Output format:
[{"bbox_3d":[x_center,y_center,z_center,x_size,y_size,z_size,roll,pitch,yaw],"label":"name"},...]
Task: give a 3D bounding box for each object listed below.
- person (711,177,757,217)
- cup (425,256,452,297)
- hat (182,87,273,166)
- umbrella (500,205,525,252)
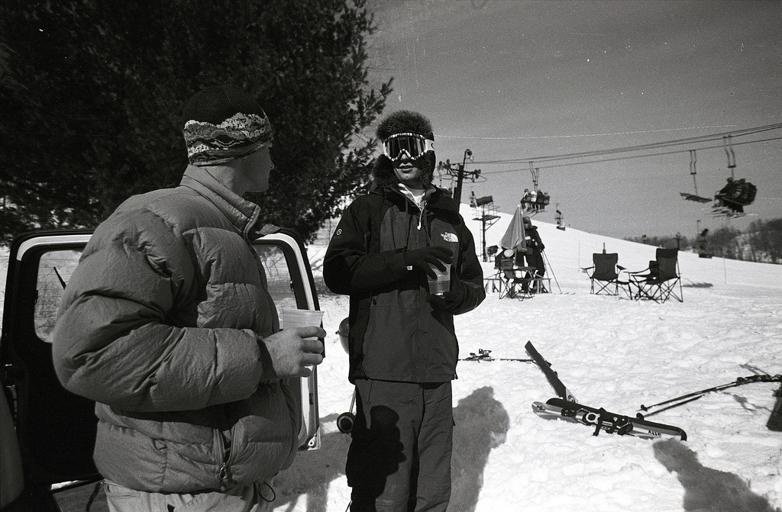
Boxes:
[{"bbox_3d":[7.265,-1.215,13.475,0.569,0.835,0.939,-3,3,-1],"label":"person"},{"bbox_3d":[0.509,0.222,6.543,0.292,0.418,0.329,-3,-5,43],"label":"cup"},{"bbox_3d":[-1.510,-1.252,5.940,0.863,0.716,0.915,-5,17,7],"label":"hat"},{"bbox_3d":[3.566,-0.725,17.998,0.657,1.235,1.148,-4,3,-9],"label":"umbrella"}]
